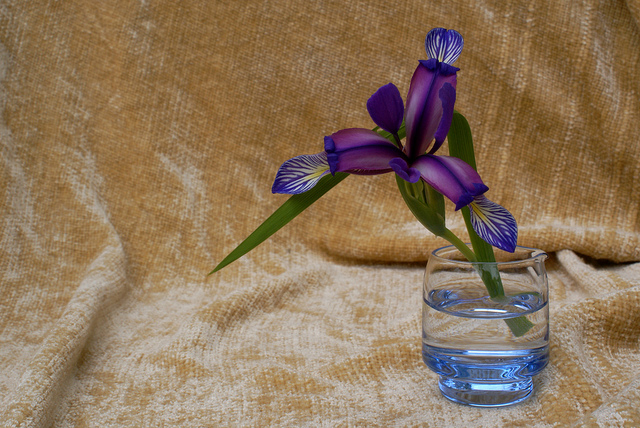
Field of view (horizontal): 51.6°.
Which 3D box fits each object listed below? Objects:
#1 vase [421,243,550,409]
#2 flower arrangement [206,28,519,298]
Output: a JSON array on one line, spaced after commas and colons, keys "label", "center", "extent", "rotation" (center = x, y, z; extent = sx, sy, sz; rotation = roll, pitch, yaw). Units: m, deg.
[{"label": "vase", "center": [0.339, 0.212, 1.335], "extent": [0.245, 0.355, 0.329], "rotation": [-1, 4, 22]}, {"label": "flower arrangement", "center": [0.075, -0.025, 1.199], "extent": [0.473, 0.299, 0.476], "rotation": [2, 6, -43]}]
